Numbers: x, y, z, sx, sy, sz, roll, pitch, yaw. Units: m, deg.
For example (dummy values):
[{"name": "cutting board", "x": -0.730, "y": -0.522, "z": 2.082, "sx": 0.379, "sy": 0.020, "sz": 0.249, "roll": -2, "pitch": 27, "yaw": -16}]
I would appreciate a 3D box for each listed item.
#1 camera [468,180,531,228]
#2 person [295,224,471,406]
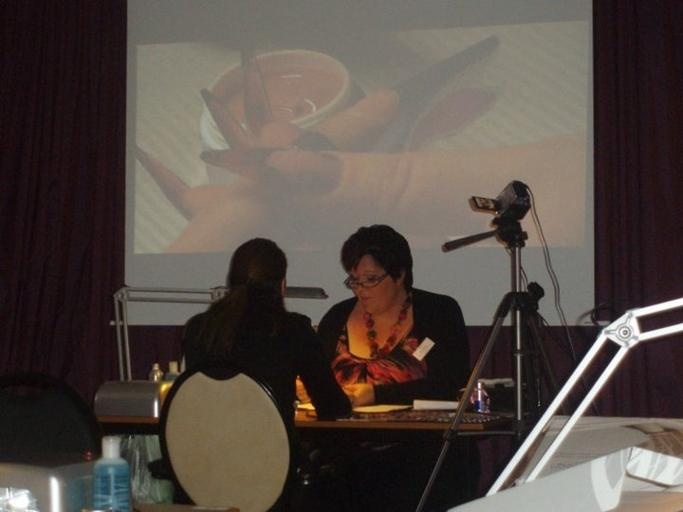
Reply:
[{"name": "camera", "x": 0.870, "y": -0.276, "z": 6.428, "sx": 0.118, "sy": 0.157, "sz": 0.270, "roll": 24, "pitch": -24, "yaw": -9}, {"name": "person", "x": 0.275, "y": 0.364, "z": 6.644, "sx": 0.710, "sy": 0.878, "sz": 0.485, "roll": -10, "pitch": -21, "yaw": 28}]
